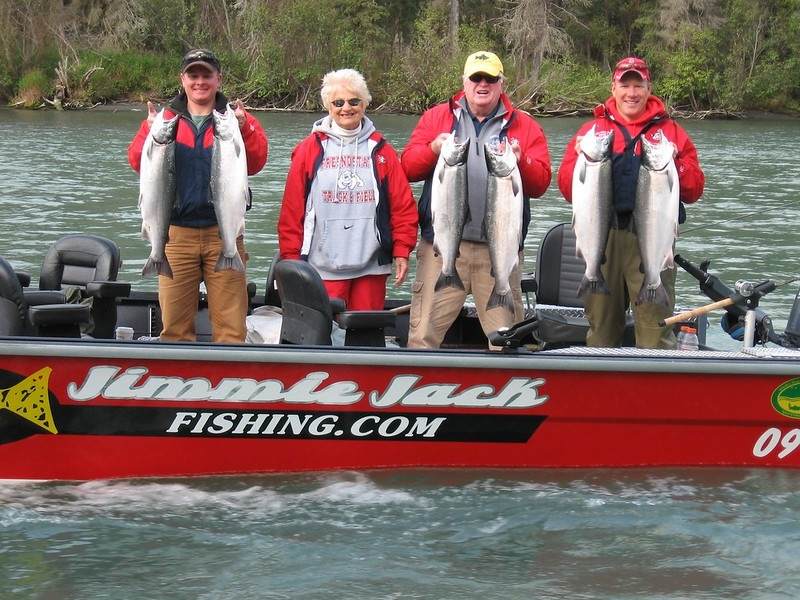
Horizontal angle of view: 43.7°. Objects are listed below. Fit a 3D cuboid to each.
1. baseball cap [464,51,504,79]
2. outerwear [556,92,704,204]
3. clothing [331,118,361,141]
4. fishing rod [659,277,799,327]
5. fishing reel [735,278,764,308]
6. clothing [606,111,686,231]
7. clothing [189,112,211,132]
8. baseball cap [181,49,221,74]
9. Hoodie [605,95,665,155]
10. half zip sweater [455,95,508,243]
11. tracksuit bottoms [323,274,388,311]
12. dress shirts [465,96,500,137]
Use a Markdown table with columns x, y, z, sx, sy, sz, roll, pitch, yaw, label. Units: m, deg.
| x | y | z | sx | sy | sz | roll | pitch | yaw | label |
| --- | --- | --- | --- | --- | --- | --- | --- | --- | --- |
| 0.479 | -1.314 | 5.635 | 0.182 | 0.086 | 0.216 | 0 | -4 | 7 | baseball cap |
| 1.325 | -0.843 | 5.587 | 0.909 | 0.529 | 0.494 | 7 | 18 | 38 | outerwear |
| -0.311 | -0.993 | 5.787 | 0.158 | 0.082 | 0.131 | 8 | 16 | 8 | clothing |
| 2.251 | 0.024 | 6.816 | 1.370 | 0.171 | 0.209 | -13 | -6 | -19 | fishing rod |
| 1.957 | -0.045 | 5.594 | 0.201 | 0.097 | 0.114 | 37 | -9 | -31 | fishing reel |
| 1.287 | -0.706 | 5.322 | 0.589 | 0.540 | 0.183 | 4 | -3 | -1 | clothing |
| -1.103 | -0.996 | 5.574 | 0.136 | 0.111 | 0.066 | 5 | -17 | -1 | clothing |
| -1.099 | -1.347 | 5.580 | 0.167 | 0.081 | 0.189 | -2 | -9 | -2 | baseball cap |
| 1.299 | -0.938 | 5.489 | 0.366 | 0.338 | 0.182 | 2 | 3 | 10 | Hoodie |
| 0.445 | -0.743 | 5.559 | 0.350 | 0.729 | 0.146 | 7 | -7 | -6 | half zip sweater |
| -0.268 | -0.049 | 5.801 | 0.251 | 0.105 | 0.247 | 6 | 44 | -3 | tracksuit bottoms |
| 0.468 | -1.037 | 5.612 | 0.215 | 0.174 | 0.097 | 6 | -1 | 8 | dress shirts |
